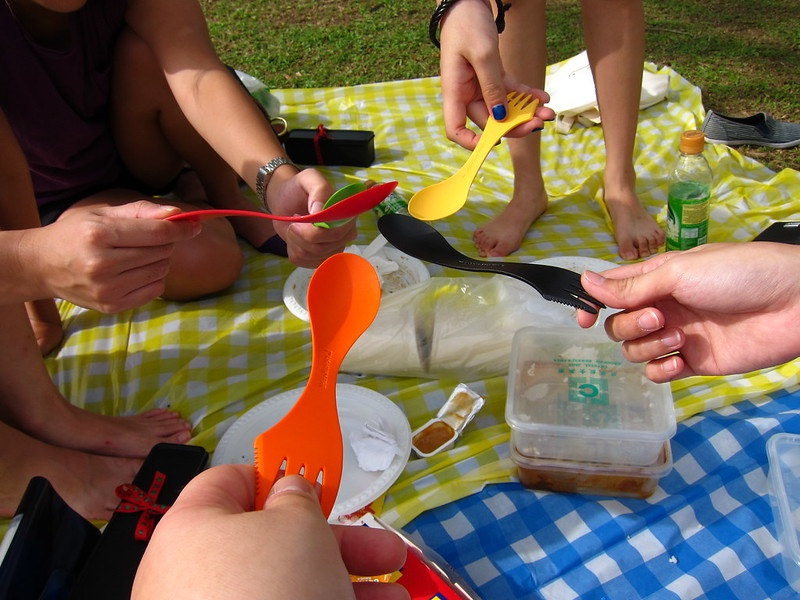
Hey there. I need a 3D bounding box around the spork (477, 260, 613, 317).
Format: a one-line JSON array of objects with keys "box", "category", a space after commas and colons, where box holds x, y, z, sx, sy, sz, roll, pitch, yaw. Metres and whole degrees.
[{"box": [0.278, -0.026, 1.329, 0.320, 0.036, 0.088, 11, 56, 40], "category": "spork"}]

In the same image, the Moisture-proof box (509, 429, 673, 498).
[{"box": [0.368, 0.332, 1.211, 0.198, 0.058, 0.164, 3, 30, 9], "category": "Moisture-proof box"}]

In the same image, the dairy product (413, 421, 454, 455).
[{"box": [0.071, 0.295, 1.349, 0.074, 0.026, 0.053, -32, 56, -9], "category": "dairy product"}]

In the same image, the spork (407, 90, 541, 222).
[{"box": [0.212, -0.315, 1.557, 0.163, 0.051, 0.514, 24, 70, 35], "category": "spork"}]

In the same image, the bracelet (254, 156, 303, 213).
[{"box": [-0.308, -0.290, 1.486, 0.032, 0.112, 0.108, -16, 59, -41], "category": "bracelet"}]

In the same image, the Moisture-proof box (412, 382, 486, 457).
[{"box": [0.115, 0.278, 1.408, 0.170, 0.066, 0.090, -39, 47, -17], "category": "Moisture-proof box"}]
